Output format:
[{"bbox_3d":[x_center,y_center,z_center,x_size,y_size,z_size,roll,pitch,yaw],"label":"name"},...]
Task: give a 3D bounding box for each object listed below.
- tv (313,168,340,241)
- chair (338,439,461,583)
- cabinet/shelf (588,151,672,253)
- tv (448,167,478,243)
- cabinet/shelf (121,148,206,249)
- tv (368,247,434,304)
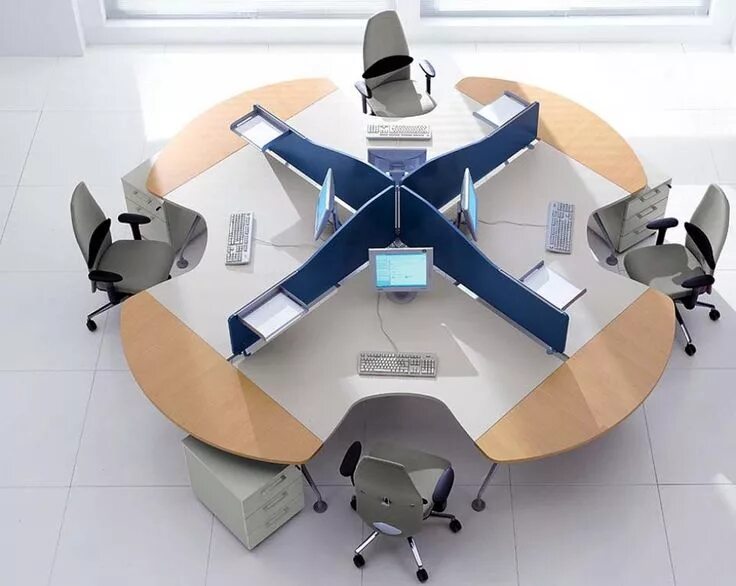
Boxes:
[{"bbox_3d":[-0.264,-0.560,3.952,0.179,0.319,0.459,3,54,-5],"label":"tv"},{"bbox_3d":[0.173,1.267,3.441,0.473,0.662,0.495,10,58,12],"label":"chair"},{"bbox_3d":[1.940,-0.659,4.562,0.401,0.623,0.480,-25,56,-14],"label":"cabinet/shelf"},{"bbox_3d":[0.606,-0.559,3.918,0.140,0.325,0.476,-3,54,11],"label":"tv"},{"bbox_3d":[-1.522,-0.685,4.607,0.382,0.574,0.451,34,57,17],"label":"cabinet/shelf"},{"bbox_3d":[0.202,-0.006,3.717,0.403,0.458,0.250,-1,43,1],"label":"tv"}]
